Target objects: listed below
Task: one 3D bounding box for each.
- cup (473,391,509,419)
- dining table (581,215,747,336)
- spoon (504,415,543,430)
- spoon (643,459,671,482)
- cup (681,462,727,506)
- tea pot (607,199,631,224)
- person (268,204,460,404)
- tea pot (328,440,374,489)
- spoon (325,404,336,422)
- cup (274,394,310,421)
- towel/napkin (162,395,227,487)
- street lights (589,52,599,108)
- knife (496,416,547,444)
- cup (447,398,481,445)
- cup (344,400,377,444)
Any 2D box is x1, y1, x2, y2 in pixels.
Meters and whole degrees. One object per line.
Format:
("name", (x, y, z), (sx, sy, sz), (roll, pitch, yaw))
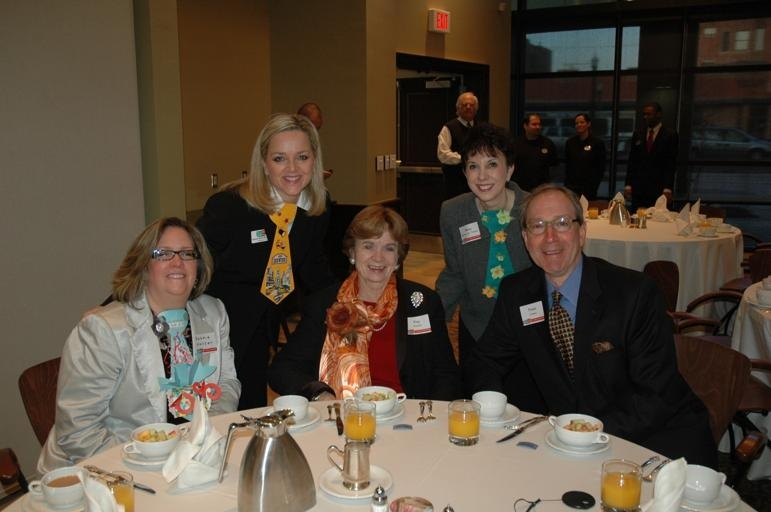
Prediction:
("cup", (0.449, 0.628, 2.534), (0.117, 0.071, 0.116), (-1, 9, 0))
("dining table", (2.747, 0.007, 5.791), (1.129, 0.735, 1.135), (1, 18, 14))
("spoon", (0.592, 0.704, 2.484), (0.054, 0.026, 0.233), (8, 9, 37))
("spoon", (0.994, 0.777, 2.184), (0.048, 0.048, 0.334), (23, 4, 26))
("cup", (1.098, 0.785, 2.032), (0.152, 0.089, 0.115), (16, -19, -38))
("tea pot", (2.454, -0.473, 6.290), (0.230, 0.251, 0.241), (-1, 1, 0))
("person", (-0.128, 0.248, 3.104), (0.962, 0.977, 0.584), (-4, 12, -12))
("tea pot", (-0.115, 0.741, 2.155), (0.202, 0.178, 0.126), (-1, 7, -5))
("spoon", (-0.235, 0.686, 2.582), (0.049, 0.056, 0.050), (0, 3, -1))
("cup", (-0.404, 0.629, 2.494), (0.146, 0.085, 0.146), (0, -2, 0))
("towel/napkin", (-0.715, 0.718, 2.328), (0.302, 0.321, 0.276), (4, 0, -35))
("street lights", (3.529, -3.014, 9.980), (0.133, 0.803, 0.091), (2, 13, 19))
("knife", (0.558, 0.721, 2.444), (0.040, 0.030, 0.286), (8, 10, 33))
("cup", (0.316, 0.659, 2.362), (0.152, 0.170, 0.153), (0, 0, 0))
("cup", (-0.103, 0.647, 2.363), (0.156, 0.161, 0.143), (2, -2, 0))
